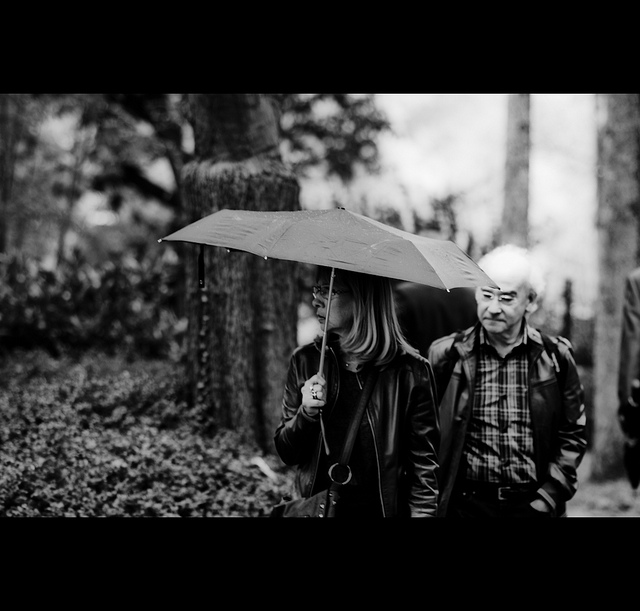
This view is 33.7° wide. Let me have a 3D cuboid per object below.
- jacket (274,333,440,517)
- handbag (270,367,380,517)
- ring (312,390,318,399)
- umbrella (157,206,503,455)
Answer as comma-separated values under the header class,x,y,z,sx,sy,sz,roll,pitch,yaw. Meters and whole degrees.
class,x,y,z,sx,sy,sz,roll,pitch,yaw
jacket,0.237,0.682,5.920,0.860,1.243,0.590,2,4,11
handbag,0.038,0.775,5.975,0.551,0.729,0.240,3,1,37
ring,-0.028,0.480,5.745,0.025,0.041,0.018,2,1,-10
umbrella,0.058,-0.029,5.448,1.414,0.964,1.456,13,-9,-31
